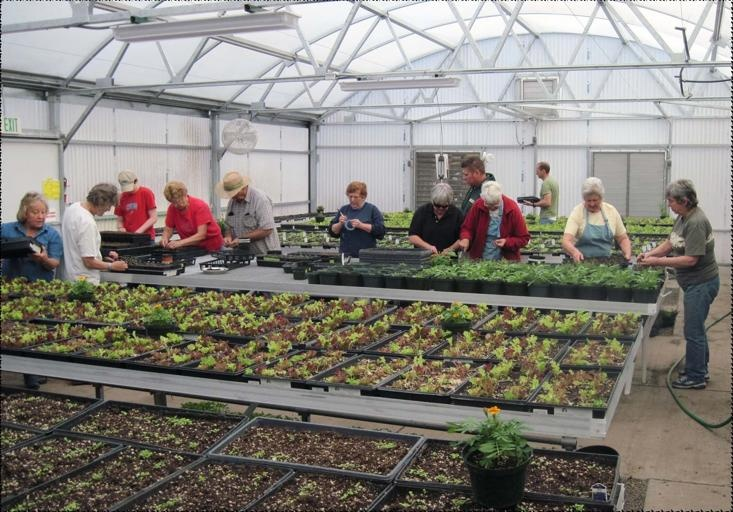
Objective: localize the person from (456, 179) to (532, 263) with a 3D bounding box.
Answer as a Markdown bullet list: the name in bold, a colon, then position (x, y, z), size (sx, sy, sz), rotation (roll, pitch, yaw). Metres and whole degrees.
- **person**: position (1.635, -0.212, 8.268), size (0.951, 1.394, 0.854), rotation (7, 17, 27)

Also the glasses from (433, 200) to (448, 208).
- **glasses**: position (1.005, -0.688, 8.435), size (0.245, 0.098, 0.189), rotation (-2, 10, -15)

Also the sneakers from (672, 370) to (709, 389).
- **sneakers**: position (4.102, 1.601, 8.226), size (0.555, 0.215, 0.191), rotation (3, 8, 9)

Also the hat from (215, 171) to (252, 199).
- **hat**: position (-1.859, -1.002, 8.985), size (0.439, 0.385, 0.473), rotation (-2, 11, -13)

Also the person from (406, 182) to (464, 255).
- **person**: position (0.994, -0.321, 8.713), size (0.867, 1.319, 0.799), rotation (4, 21, 8)

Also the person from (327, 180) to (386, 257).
- **person**: position (-0.151, -0.490, 8.760), size (0.715, 1.068, 0.526), rotation (11, 14, 43)

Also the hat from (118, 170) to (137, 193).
- **hat**: position (-3.871, -1.278, 10.385), size (0.303, 0.369, 0.212), rotation (-3, -26, 11)

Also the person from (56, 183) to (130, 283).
- **person**: position (-3.374, -0.264, 7.950), size (0.749, 1.333, 1.075), rotation (-4, 11, -23)

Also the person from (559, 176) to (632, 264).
- **person**: position (2.947, -0.481, 8.164), size (0.897, 1.060, 0.679), rotation (-1, 11, -8)

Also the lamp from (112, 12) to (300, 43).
- **lamp**: position (-2.161, -3.145, 8.612), size (2.688, 0.283, 0.373), rotation (4, 11, 16)

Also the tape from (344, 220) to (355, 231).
- **tape**: position (-0.245, -0.430, 8.775), size (0.116, 0.137, 0.042), rotation (-3, -10, 29)

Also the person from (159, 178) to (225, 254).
- **person**: position (-2.476, -0.549, 9.067), size (0.866, 1.055, 0.735), rotation (-2, 11, -12)
